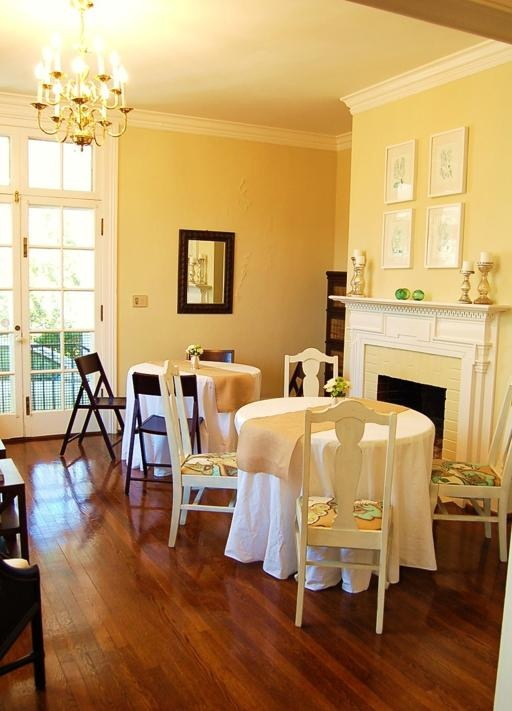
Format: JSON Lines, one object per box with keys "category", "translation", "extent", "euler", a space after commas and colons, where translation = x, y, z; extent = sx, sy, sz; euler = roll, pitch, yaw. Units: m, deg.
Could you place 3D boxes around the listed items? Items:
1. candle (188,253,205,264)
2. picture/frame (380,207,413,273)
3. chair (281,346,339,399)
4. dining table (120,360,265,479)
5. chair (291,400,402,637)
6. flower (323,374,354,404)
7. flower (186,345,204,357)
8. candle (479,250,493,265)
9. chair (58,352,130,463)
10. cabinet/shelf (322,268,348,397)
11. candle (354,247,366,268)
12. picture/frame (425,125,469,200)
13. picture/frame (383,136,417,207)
{"category": "candle", "translation": [-0.574, -0.941, 5.294], "extent": [0.111, 0.088, 0.087], "euler": [3, 1, -15]}
{"category": "picture/frame", "translation": [1.041, -0.876, 4.086], "extent": [0.279, 0.421, 0.042], "euler": [-10, 19, -27]}
{"category": "chair", "translation": [0.349, 0.229, 3.909], "extent": [0.290, 0.469, 0.286], "euler": [6, -2, 10]}
{"category": "dining table", "translation": [-0.399, 0.451, 4.231], "extent": [0.839, 0.651, 0.868], "euler": [1, -5, 6]}
{"category": "chair", "translation": [0.337, 0.597, 2.179], "extent": [0.487, 0.843, 0.485], "euler": [4, 4, 39]}
{"category": "flower", "translation": [0.411, 0.185, 2.817], "extent": [0.154, 0.164, 0.159], "euler": [-3, 4, 20]}
{"category": "flower", "translation": [-0.489, -0.032, 4.337], "extent": [0.121, 0.106, 0.120], "euler": [-1, -2, -42]}
{"category": "candle", "translation": [1.385, -0.590, 3.279], "extent": [0.075, 0.097, 0.128], "euler": [2, 3, 21]}
{"category": "chair", "translation": [-1.316, 0.406, 4.549], "extent": [0.496, 0.819, 0.456], "euler": [0, 6, 1]}
{"category": "cabinet/shelf", "translation": [0.886, -0.336, 5.909], "extent": [0.206, 1.075, 0.254], "euler": [2, 16, 12]}
{"category": "candle", "translation": [0.834, -0.788, 4.398], "extent": [0.097, 0.145, 0.153], "euler": [2, 3, 10]}
{"category": "picture/frame", "translation": [1.258, -1.263, 3.586], "extent": [0.042, 0.433, 0.326], "euler": [0, 3, -23]}
{"category": "picture/frame", "translation": [1.053, -1.344, 4.007], "extent": [0.026, 0.442, 0.338], "euler": [0, 3, -24]}
